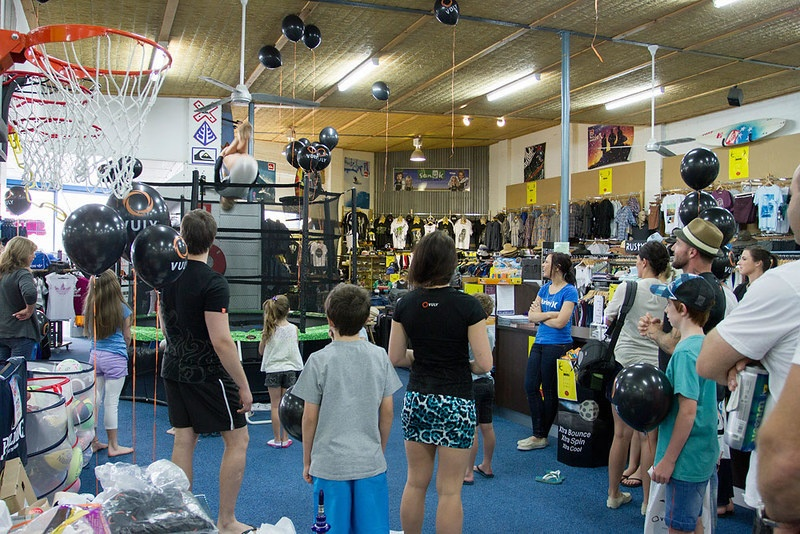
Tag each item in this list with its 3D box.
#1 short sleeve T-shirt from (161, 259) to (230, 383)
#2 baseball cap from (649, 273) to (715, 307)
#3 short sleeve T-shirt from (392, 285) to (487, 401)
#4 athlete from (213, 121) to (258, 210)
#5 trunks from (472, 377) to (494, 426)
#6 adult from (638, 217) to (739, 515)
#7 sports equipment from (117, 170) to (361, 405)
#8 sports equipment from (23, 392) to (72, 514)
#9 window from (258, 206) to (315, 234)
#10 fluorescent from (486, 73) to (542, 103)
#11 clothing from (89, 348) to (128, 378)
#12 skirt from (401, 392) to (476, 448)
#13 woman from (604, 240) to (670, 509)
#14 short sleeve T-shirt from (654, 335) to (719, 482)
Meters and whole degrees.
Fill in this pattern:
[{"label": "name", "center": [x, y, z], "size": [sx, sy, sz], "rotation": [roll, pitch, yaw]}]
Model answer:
[{"label": "short sleeve T-shirt", "center": [-1.453, 0.380, 3.986], "size": [0.488, 0.842, 0.169], "rotation": [2, 6, 9]}, {"label": "baseball cap", "center": [1.794, 0.133, 3.609], "size": [0.248, 0.199, 0.388], "rotation": [-5, 12, -41]}, {"label": "short sleeve T-shirt", "center": [0.256, 0.506, 3.847], "size": [0.672, 0.746, 0.391], "rotation": [0, 2, 16]}, {"label": "athlete", "center": [-1.645, -1.036, 5.720], "size": [0.395, 0.894, 0.661], "rotation": [-1, 6, -18]}, {"label": "trunks", "center": [0.734, 1.176, 4.899], "size": [0.157, 0.355, 0.112], "rotation": [20, -22, -41]}, {"label": "adult", "center": [2.051, 0.582, 4.099], "size": [0.572, 1.741, 0.579], "rotation": [-3, -4, 33]}, {"label": "sports equipment", "center": [-1.639, 0.369, 6.403], "size": [2.472, 2.871, 2.541], "rotation": [2, 3, 29]}, {"label": "sports equipment", "center": [-2.384, 1.206, 3.878], "size": [0.260, 0.652, 0.350], "rotation": [-2, 6, -31]}, {"label": "window", "center": [-1.950, -0.824, 9.869], "size": [1.032, 0.270, 0.720], "rotation": [9, 21, 34]}, {"label": "fluorescent", "center": [2.012, -3.148, 9.892], "size": [0.234, 0.170, 1.011], "rotation": [-37, 15, -35]}, {"label": "clothing", "center": [-2.664, 0.888, 5.209], "size": [0.317, 0.235, 0.225], "rotation": [4, 5, 18]}, {"label": "skirt", "center": [0.259, 1.021, 3.770], "size": [0.447, 0.320, 0.328], "rotation": [12, -15, -25]}, {"label": "woman", "center": [2.011, 0.910, 4.714], "size": [0.665, 2.169, 0.674], "rotation": [1, 3, 38]}, {"label": "short sleeve T-shirt", "center": [1.834, 0.895, 3.719], "size": [0.359, 0.909, 0.723], "rotation": [1, -2, 31]}]
